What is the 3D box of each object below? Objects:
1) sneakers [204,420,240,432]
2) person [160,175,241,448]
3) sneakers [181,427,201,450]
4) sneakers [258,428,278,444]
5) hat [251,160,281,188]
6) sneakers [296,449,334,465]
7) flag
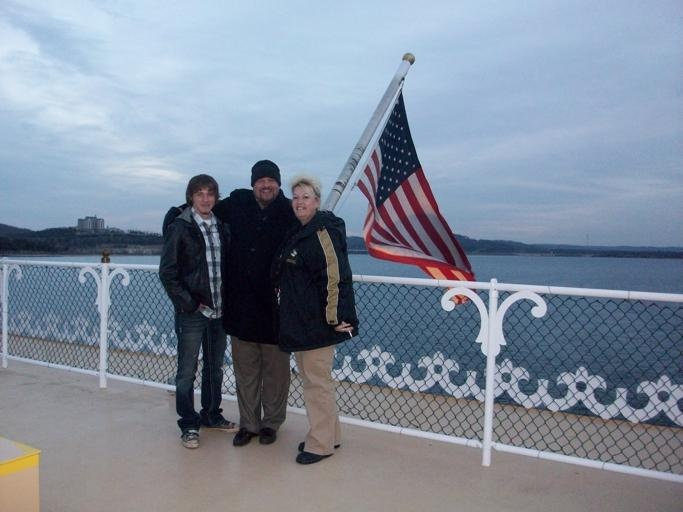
[{"bbox_3d":[-1.307,1.870,5.604,0.382,0.172,0.135,-2,8,1],"label":"sneakers"},{"bbox_3d":[-1.526,0.553,5.341,0.408,2.139,0.852,4,1,41],"label":"person"},{"bbox_3d":[-1.552,1.877,5.212,0.102,0.112,0.252,2,-5,-24],"label":"sneakers"},{"bbox_3d":[-0.780,1.888,5.316,0.129,0.110,0.267,0,-3,-7],"label":"sneakers"},{"bbox_3d":[-0.791,-0.842,5.226,0.297,0.221,0.243,3,1,-5],"label":"hat"},{"bbox_3d":[-0.266,1.950,4.957,0.314,0.144,0.129,8,-2,-20],"label":"sneakers"},{"bbox_3d":[0.921,-0.894,6.539,1.800,0.404,3.385,15,-36,15],"label":"flag"}]
